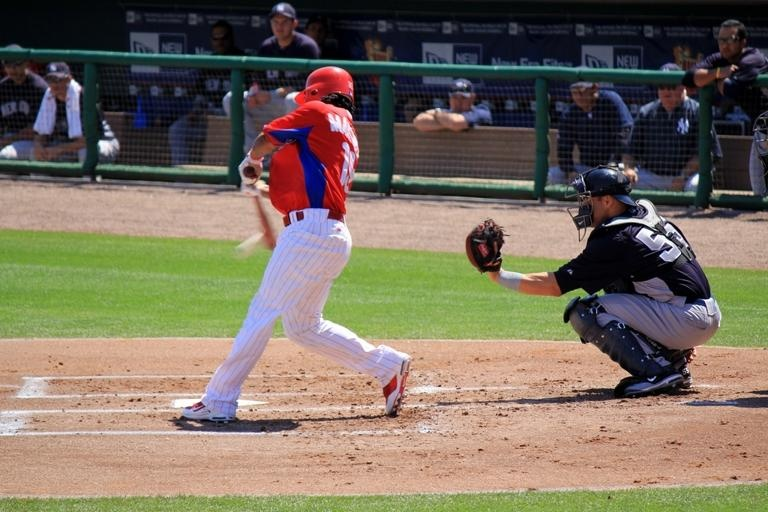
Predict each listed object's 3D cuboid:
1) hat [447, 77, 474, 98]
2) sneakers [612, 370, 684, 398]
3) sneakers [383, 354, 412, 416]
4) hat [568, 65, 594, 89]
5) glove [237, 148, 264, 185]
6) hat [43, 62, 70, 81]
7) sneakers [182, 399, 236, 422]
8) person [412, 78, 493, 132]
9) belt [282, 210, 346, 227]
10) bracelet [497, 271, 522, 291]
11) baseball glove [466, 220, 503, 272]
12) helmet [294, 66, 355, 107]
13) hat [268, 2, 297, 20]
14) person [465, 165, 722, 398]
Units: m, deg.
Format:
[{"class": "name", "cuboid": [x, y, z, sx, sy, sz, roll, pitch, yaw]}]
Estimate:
[{"class": "hat", "cuboid": [0.902, -1.968, 19.095, 0.283, 0.230, 0.300, 1, 4, 3]}, {"class": "sneakers", "cuboid": [2.270, 1.115, 14.169, 0.670, 0.244, 0.204, -5, -1, -3]}, {"class": "sneakers", "cuboid": [0.062, 1.101, 13.862, 0.298, 0.538, 0.184, 5, 24, -8]}, {"class": "hat", "cuboid": [2.237, -2.042, 18.694, 0.346, 0.247, 0.071, -5, 1, 10]}, {"class": "glove", "cuboid": [-1.130, -0.738, 13.710, 0.243, 0.262, 0.096, 9, 43, -21]}, {"class": "hat", "cuboid": [-3.870, -2.189, 19.367, 0.299, 0.218, 0.222, 0, 4, -15]}, {"class": "sneakers", "cuboid": [-1.482, 1.321, 13.758, 0.529, 0.195, 0.159, 2, -1, 0]}, {"class": "person", "cuboid": [0.769, -1.730, 19.035, 0.693, 0.389, 0.859, 1, 9, 23]}, {"class": "belt", "cuboid": [-0.593, -0.312, 13.607, 0.492, 0.149, 0.146, 1, 4, -6]}, {"class": "bracelet", "cuboid": [1.079, 0.215, 14.199, 0.245, 0.129, 0.205, 7, -8, -7]}, {"class": "baseball glove", "cuboid": [0.874, -0.065, 14.244, 0.416, 0.385, 0.475, -3, 0, 2]}, {"class": "helmet", "cuboid": [-0.492, -1.444, 13.864, 0.513, 0.198, 0.320, 2, 3, 9]}, {"class": "hat", "cuboid": [-1.195, -2.878, 19.090, 0.279, 0.159, 0.323, 3, -15, 12]}, {"class": "person", "cuboid": [1.949, 0.220, 14.153, 1.888, 1.978, 0.414, 2, 4, 8]}]
